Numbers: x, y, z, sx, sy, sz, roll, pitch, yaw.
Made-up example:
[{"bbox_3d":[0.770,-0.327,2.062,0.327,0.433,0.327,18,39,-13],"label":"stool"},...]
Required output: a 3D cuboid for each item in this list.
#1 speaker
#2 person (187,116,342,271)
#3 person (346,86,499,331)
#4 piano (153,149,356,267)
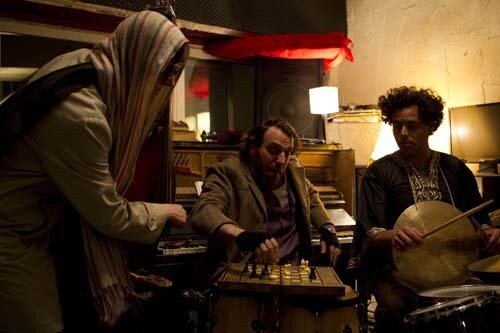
[{"bbox_3d":[0.424,-1.135,7.120,1.497,1.311,0.895,3,7,-22],"label":"speaker"},{"bbox_3d":[0.149,0.230,3.859,1.501,1.373,0.794,-1,4,-31],"label":"person"},{"bbox_3d":[1.551,0.300,4.091,1.319,2.271,0.827,-2,4,-35],"label":"person"},{"bbox_3d":[0.216,0.245,4.761,2.354,1.369,1.171,4,5,-16],"label":"piano"}]
